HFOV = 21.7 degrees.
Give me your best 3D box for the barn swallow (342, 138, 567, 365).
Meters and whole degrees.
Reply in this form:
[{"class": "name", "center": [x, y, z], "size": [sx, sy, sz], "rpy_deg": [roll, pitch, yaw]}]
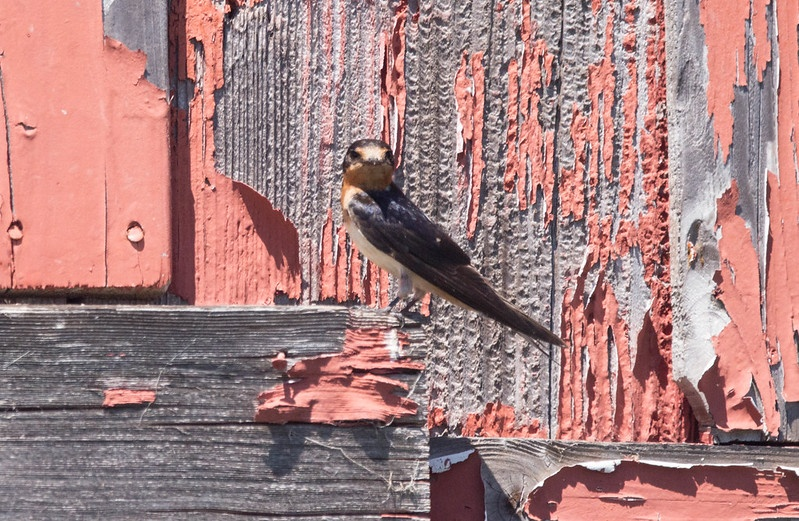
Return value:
[{"class": "barn swallow", "center": [0.064, -0.067, 9.161], "size": [0.456, 0.712, 1.186], "rpy_deg": [-16, 47, -30]}]
